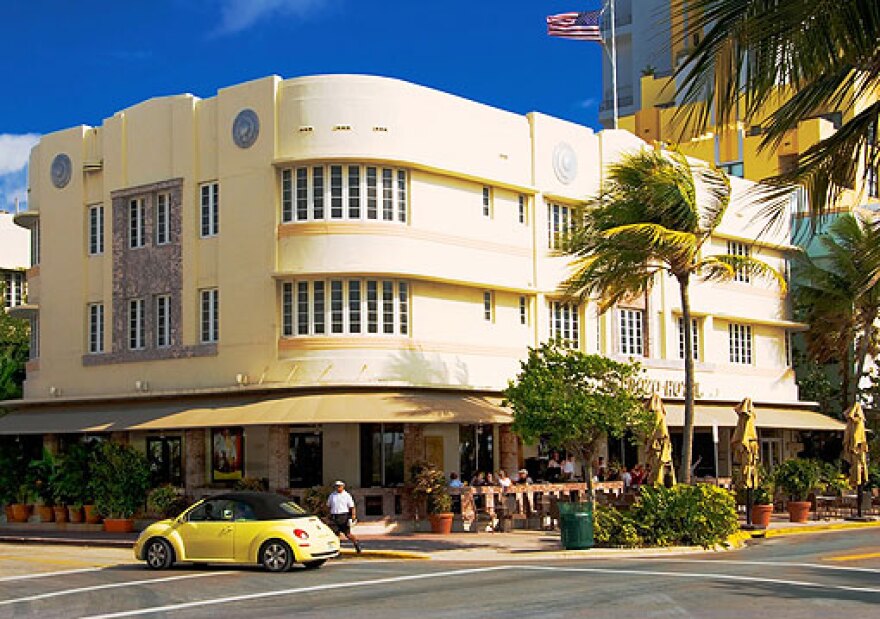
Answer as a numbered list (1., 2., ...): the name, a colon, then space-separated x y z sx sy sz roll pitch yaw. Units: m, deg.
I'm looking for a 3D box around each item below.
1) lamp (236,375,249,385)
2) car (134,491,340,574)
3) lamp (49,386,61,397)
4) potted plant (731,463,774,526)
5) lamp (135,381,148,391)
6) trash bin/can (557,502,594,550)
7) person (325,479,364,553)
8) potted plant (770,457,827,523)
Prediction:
1. lamp: -6.949 2.514 40.502 0.423 0.420 0.521 1 -6 -8
2. car: -5.329 5.942 30.192 4.837 2.101 2.214 -1 -6 14
3. lamp: -15.240 3.302 45.510 0.300 0.456 0.357 -6 -9 30
4. potted plant: 11.221 6.699 41.183 1.469 2.373 1.537 18 -28 -29
5. lamp: -11.172 2.906 42.980 0.345 0.347 0.392 3 -7 -36
6. trash bin/can: 4.046 6.350 33.524 1.124 1.337 1.201 0 -8 -7
7. person: -2.870 6.029 33.816 0.956 2.371 0.993 -6 -7 27
8. potted plant: 13.448 6.853 43.416 1.611 2.331 3.486 -2 -6 17
